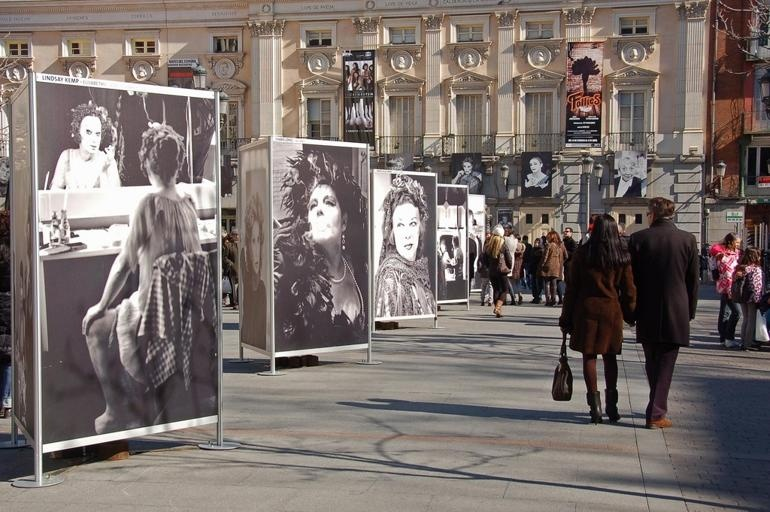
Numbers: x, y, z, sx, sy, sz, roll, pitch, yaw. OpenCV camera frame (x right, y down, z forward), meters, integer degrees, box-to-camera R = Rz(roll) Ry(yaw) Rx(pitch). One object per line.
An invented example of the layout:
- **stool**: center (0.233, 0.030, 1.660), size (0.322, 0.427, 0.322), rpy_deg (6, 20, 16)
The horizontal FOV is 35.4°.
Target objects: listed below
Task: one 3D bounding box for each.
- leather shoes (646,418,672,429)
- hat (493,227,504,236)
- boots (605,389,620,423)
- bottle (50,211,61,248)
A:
- **leather shoes**: center (4.240, 2.572, 18.686), size (0.400, 0.184, 0.151), rpy_deg (-3, 4, -21)
- **hat**: center (2.896, -0.612, 30.665), size (0.287, 0.157, 0.425), rpy_deg (0, 4, 0)
- **boots**: center (3.550, 2.372, 18.922), size (0.207, 0.507, 0.499), rpy_deg (-3, 3, 18)
- **bottle**: center (-4.612, -0.383, 16.934), size (0.173, 0.453, 0.087), rpy_deg (-3, 13, -18)
